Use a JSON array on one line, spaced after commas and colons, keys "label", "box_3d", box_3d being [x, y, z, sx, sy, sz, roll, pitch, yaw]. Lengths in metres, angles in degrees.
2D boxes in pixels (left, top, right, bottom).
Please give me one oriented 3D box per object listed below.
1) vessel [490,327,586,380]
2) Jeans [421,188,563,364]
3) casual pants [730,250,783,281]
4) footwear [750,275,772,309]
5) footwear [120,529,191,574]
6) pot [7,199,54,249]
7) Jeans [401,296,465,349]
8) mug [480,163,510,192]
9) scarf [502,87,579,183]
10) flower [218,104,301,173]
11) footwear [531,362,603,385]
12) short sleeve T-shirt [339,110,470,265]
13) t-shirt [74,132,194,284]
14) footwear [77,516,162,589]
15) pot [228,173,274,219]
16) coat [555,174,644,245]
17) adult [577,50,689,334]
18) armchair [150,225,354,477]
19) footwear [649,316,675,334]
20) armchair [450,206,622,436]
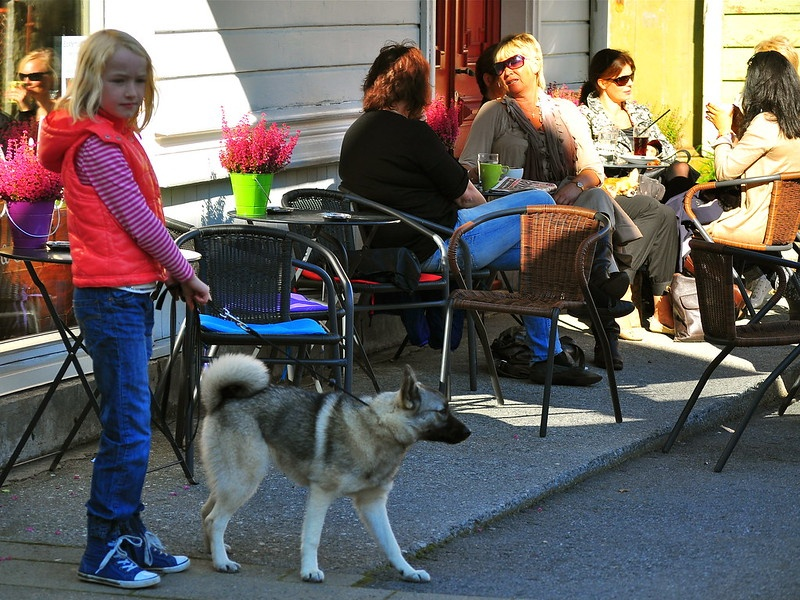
[{"label": "vessel", "box_3d": [0.967, 0.367, 6.138, 0.399, 0.224, 0.555, 4, 7, 35]}, {"label": "Jeans", "box_3d": [0.870, -0.161, 5.818, 1.051, 1.353, 1.131, -1, 1, -42]}, {"label": "casual pants", "box_3d": [2.701, -0.266, 6.126, 0.238, 0.292, 0.354, -5, 1, -9]}, {"label": "footwear", "box_3d": [3.197, -0.070, 7.171, 0.182, 0.301, 0.067, 24, 6, 2]}, {"label": "footwear", "box_3d": [-0.974, 0.991, 3.203, 0.291, 0.130, 0.110, 0, 9, -24]}, {"label": "pot", "box_3d": [-1.786, -0.365, 3.888, 0.234, 0.212, 0.224, -1, 3, 0]}, {"label": "Jeans", "box_3d": [0.193, 0.177, 5.524, 0.351, 0.330, 0.120, 2, 48, 2]}, {"label": "mug", "box_3d": [0.674, -0.911, 6.019, 0.282, 0.228, 0.201, 1, -1, -8]}, {"label": "scarf", "box_3d": [1.164, -1.334, 6.644, 0.471, 0.666, 0.383, -17, 16, -18]}, {"label": "flower", "box_3d": [-0.981, -1.059, 5.268, 0.502, 0.344, 0.450, 8, 13, 31]}, {"label": "footwear", "box_3d": [1.170, 0.537, 5.768, 0.558, 0.202, 0.198, 1, 9, 3]}, {"label": "short sleeve T-shirt", "box_3d": [-0.011, -0.861, 5.600, 0.817, 0.941, 0.748, 13, 29, 40]}, {"label": "t-shirt", "box_3d": [-0.989, -0.321, 3.016, 0.376, 0.571, 0.137, -7, 18, -19]}, {"label": "footwear", "box_3d": [-1.017, 0.981, 3.146, 0.370, 0.249, 0.195, 6, 0, -6]}, {"label": "pot", "box_3d": [-0.976, -0.682, 5.200, 0.320, 0.237, 0.301, 3, 8, 0]}, {"label": "coat", "box_3d": [1.656, -0.777, 6.513, 0.379, 0.546, 1.108, -3, 1, 37]}, {"label": "adult", "box_3d": [2.139, -1.089, 7.780, 0.917, 2.487, 1.338, -11, 20, -39]}, {"label": "armchair", "box_3d": [-0.777, 0.207, 4.288, 0.867, 1.035, 0.784, 3, -11, -2]}, {"label": "footwear", "box_3d": [2.323, 0.224, 7.184, 0.204, 0.079, 0.113, 13, 7, 11]}, {"label": "armchair", "box_3d": [0.806, 0.103, 5.095, 1.029, 1.314, 0.987, 6, 9, 35]}]
